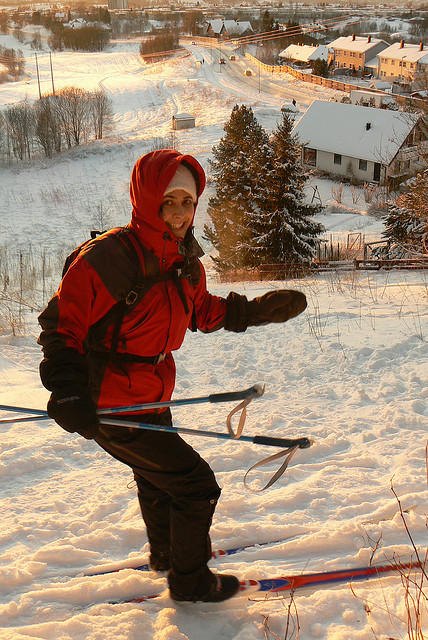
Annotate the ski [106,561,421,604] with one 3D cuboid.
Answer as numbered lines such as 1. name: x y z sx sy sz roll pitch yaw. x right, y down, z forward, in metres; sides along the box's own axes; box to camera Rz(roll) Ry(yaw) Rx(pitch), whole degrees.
1. ski: 0.302 1.401 3.615 1.422 0.065 0.134 -8 23 1

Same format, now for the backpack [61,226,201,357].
1. backpack: -0.442 -0.164 3.462 0.441 0.630 0.678 -29 -14 14

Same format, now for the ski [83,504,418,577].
1. ski: 0.250 1.295 3.953 1.868 0.133 0.170 -11 43 -4

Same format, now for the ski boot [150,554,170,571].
1. ski boot: -0.312 1.399 3.952 0.138 0.084 0.122 1 -7 1
